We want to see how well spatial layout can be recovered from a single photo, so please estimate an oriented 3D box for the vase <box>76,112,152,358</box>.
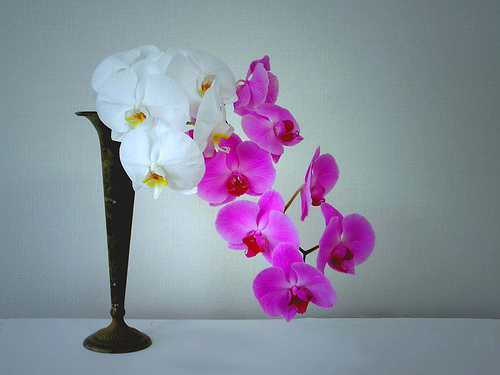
[{"bbox_3d":[-0.298,0.169,1.151,0.153,0.446,0.162,-1,27,-21],"label":"vase"}]
